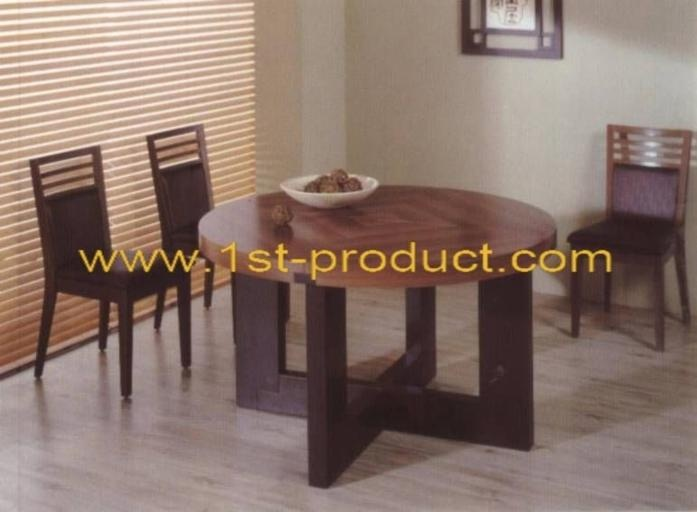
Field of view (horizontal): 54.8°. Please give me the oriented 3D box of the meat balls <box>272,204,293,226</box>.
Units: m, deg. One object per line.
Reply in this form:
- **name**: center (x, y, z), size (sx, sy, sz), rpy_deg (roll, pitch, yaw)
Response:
- **meat balls**: center (-0.182, -0.114, 1.779), size (0.053, 0.047, 0.052), rpy_deg (-1, 15, 0)

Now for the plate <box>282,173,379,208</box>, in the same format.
- **plate**: center (-0.059, -0.179, 1.885), size (0.277, 0.083, 0.156), rpy_deg (3, 19, 9)

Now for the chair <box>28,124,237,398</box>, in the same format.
- **chair**: center (-0.614, -0.108, 2.317), size (0.640, 1.094, 0.627), rpy_deg (12, 20, 33)

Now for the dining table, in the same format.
- **dining table**: center (0.067, 0.102, 2.029), size (0.877, 0.580, 0.877), rpy_deg (-7, 16, -24)
